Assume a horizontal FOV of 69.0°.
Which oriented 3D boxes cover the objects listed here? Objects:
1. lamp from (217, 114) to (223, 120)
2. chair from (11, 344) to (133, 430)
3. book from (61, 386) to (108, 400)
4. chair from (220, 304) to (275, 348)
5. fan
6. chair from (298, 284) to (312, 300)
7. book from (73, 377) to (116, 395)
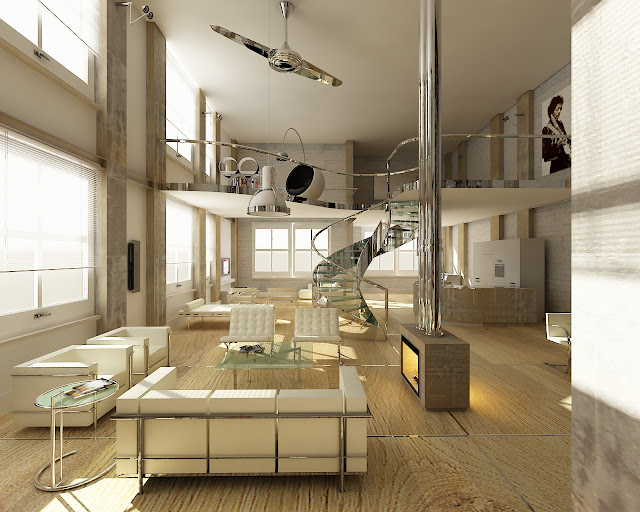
[{"bbox_3d":[-2.747,-3.797,12.656,0.167,0.139,0.278,6,6,-6],"label":"lamp"},{"bbox_3d":[-2.660,1.290,5.056,0.872,0.598,1.281,0,0,-4],"label":"chair"},{"bbox_3d":[-2.080,1.197,4.179,0.198,0.035,0.372,7,9,43],"label":"book"},{"bbox_3d":[-1.095,1.101,7.374,0.685,0.464,0.832,2,7,0],"label":"chair"},{"bbox_3d":[-0.775,-3.859,8.363,2.093,0.787,1.908,4,-6,4],"label":"fan"},{"bbox_3d":[-0.435,1.046,13.739,0.420,0.483,0.499,1,-7,-1],"label":"chair"},{"bbox_3d":[-2.122,1.203,4.333,0.266,0.051,0.385,0,-1,9],"label":"book"}]
